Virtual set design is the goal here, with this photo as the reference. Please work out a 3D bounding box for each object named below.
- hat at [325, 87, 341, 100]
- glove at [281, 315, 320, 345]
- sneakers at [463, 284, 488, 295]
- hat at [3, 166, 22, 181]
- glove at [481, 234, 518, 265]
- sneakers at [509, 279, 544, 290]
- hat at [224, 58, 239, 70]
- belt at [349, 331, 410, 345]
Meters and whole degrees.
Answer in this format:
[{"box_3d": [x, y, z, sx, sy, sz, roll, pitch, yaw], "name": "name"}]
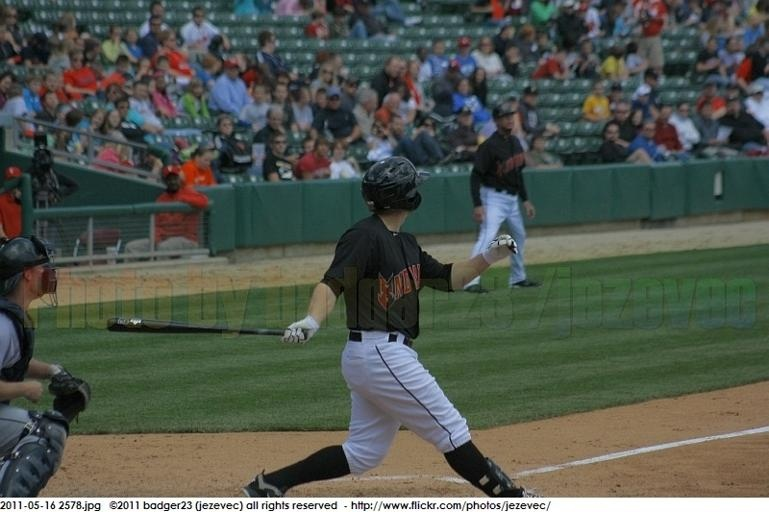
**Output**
[{"box_3d": [-0.789, -2.499, 22.658, 0.197, 0.170, 0.194, -2, 4, -3], "name": "hat"}, {"box_3d": [-0.839, 0.729, 14.857, 0.384, 0.293, 0.265, -2, 4, -4], "name": "glove"}, {"box_3d": [1.242, 0.461, 20.045, 0.343, 0.135, 0.111, -1, 1, 12], "name": "sneakers"}, {"box_3d": [-5.048, -1.125, 20.169, 0.236, 0.158, 0.323, -3, -1, -36], "name": "hat"}, {"box_3d": [1.141, -0.041, 15.297, 0.454, 0.205, 0.206, -20, 24, 30], "name": "glove"}, {"box_3d": [1.932, 0.387, 20.106, 0.445, 0.167, 0.144, -6, 2, 9], "name": "sneakers"}, {"box_3d": [-2.333, -2.898, 22.409, 0.212, 0.146, 0.324, -8, 3, -7], "name": "hat"}, {"box_3d": [-0.050, 0.828, 14.847, 0.621, 0.163, 0.101, -2, 4, -4], "name": "belt"}]
